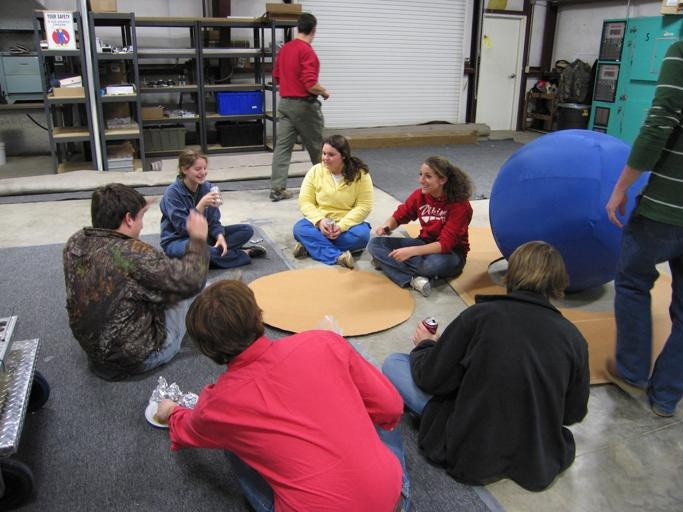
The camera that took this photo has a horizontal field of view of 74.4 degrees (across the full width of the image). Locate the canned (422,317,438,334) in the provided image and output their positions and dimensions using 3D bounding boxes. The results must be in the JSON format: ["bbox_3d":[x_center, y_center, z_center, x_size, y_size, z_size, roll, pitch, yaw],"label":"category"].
[{"bbox_3d":[0.454,0.361,2.329,0.079,0.074,0.069,2,33,4],"label":"canned"}]

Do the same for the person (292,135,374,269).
[{"bbox_3d":[-0.044,-0.472,3.901,0.730,1.015,0.866,-13,32,-19],"label":"person"}]

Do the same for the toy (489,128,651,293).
[{"bbox_3d":[1.386,-0.365,3.157,0.989,1.092,1.001,-2,14,-8],"label":"toy"}]

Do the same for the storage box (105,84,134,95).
[{"bbox_3d":[-2.986,-2.241,6.130,0.237,0.093,0.236,-2,18,-8],"label":"storage box"}]

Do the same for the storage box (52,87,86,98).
[{"bbox_3d":[-3.509,-2.128,5.865,0.239,0.072,0.252,-2,10,-9],"label":"storage box"}]

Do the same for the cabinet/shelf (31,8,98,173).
[{"bbox_3d":[-3.796,-2.398,6.391,0.762,2.138,1.919,-11,25,-27],"label":"cabinet/shelf"}]

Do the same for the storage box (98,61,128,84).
[{"bbox_3d":[-3.443,-2.791,6.858,0.365,0.367,0.113,0,11,-6],"label":"storage box"}]

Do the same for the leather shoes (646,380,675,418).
[{"bbox_3d":[1.617,0.750,2.282,0.070,0.078,0.186,-3,5,6],"label":"leather shoes"}]

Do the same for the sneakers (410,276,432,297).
[{"bbox_3d":[0.609,0.228,3.392,0.088,0.085,0.183,-40,21,-9],"label":"sneakers"}]

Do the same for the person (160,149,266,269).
[{"bbox_3d":[-1.005,-0.361,3.514,0.867,0.873,0.714,-3,21,-15],"label":"person"}]

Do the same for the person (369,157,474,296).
[{"bbox_3d":[0.642,-0.282,3.477,0.762,0.903,0.726,0,22,4],"label":"person"}]

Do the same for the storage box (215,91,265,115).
[{"bbox_3d":[-1.633,-2.441,7.408,0.548,0.240,0.533,-4,16,-14],"label":"storage box"}]

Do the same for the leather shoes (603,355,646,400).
[{"bbox_3d":[1.523,0.665,2.481,0.088,0.103,0.236,-21,40,-18],"label":"leather shoes"}]

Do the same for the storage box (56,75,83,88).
[{"bbox_3d":[-3.523,-2.287,5.915,0.280,0.143,0.203,-12,25,-30],"label":"storage box"}]

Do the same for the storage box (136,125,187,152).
[{"bbox_3d":[-2.794,-1.862,7.182,0.593,0.294,0.384,-6,15,-24],"label":"storage box"}]

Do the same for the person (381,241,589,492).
[{"bbox_3d":[0.706,0.412,1.989,0.919,0.906,0.713,11,14,7],"label":"person"}]

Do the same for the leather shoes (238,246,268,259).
[{"bbox_3d":[-0.725,-0.035,3.855,0.098,0.089,0.224,11,9,6],"label":"leather shoes"}]

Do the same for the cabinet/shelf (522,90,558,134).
[{"bbox_3d":[4.603,-3.285,10.283,0.572,0.873,1.319,-1,22,-5],"label":"cabinet/shelf"}]

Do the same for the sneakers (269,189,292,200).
[{"bbox_3d":[-0.716,-0.754,5.485,0.285,0.128,0.102,-13,25,-31],"label":"sneakers"}]

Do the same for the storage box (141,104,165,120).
[{"bbox_3d":[-2.900,-2.204,6.997,0.270,0.163,0.268,-7,20,-25],"label":"storage box"}]
